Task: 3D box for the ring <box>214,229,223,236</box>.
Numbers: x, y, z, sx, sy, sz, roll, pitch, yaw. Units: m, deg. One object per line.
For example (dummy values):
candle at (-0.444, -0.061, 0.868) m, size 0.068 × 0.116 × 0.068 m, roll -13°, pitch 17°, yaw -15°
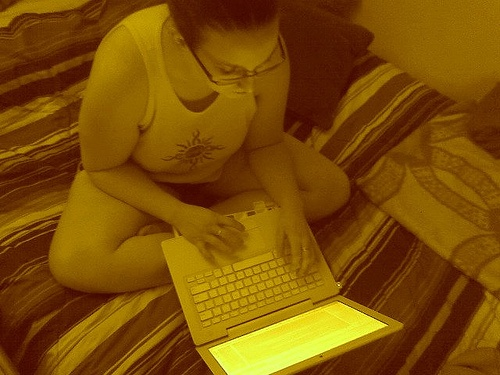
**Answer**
ring at (-0.091, 0.132, 1.203) m, size 0.019 × 0.018 × 0.004 m, roll 4°, pitch 7°, yaw 2°
